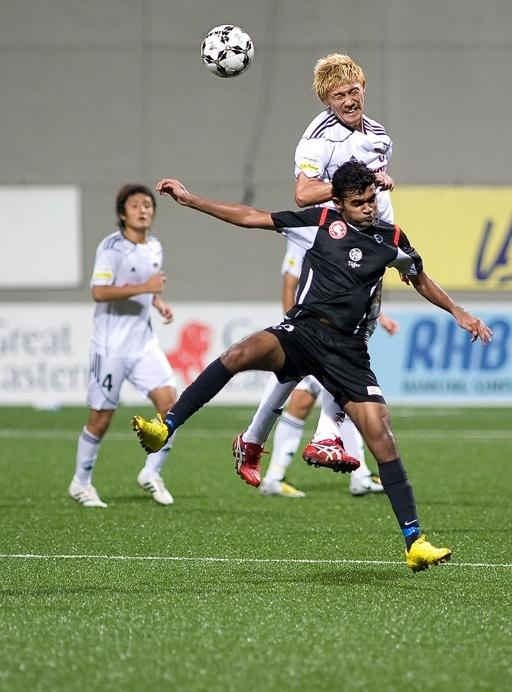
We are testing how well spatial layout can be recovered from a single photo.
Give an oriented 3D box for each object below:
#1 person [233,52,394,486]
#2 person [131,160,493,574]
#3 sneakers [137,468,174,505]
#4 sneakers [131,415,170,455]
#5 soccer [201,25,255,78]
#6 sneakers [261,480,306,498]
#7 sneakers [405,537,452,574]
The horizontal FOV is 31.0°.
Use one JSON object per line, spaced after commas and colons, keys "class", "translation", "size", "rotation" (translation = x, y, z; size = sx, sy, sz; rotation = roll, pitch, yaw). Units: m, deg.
{"class": "person", "translation": [0.366, -0.426, 4.677], "size": [0.941, 2.030, 0.953], "rotation": [2, 0, -5]}
{"class": "person", "translation": [0.241, 0.082, 3.896], "size": [1.435, 1.322, 0.840], "rotation": [12, 13, 18]}
{"class": "sneakers", "translation": [-0.666, 0.926, 6.058], "size": [0.286, 0.120, 0.103], "rotation": [41, 30, -7]}
{"class": "sneakers", "translation": [-0.450, 0.356, 3.881], "size": [0.131, 0.190, 0.100], "rotation": [0, 34, 15]}
{"class": "soccer", "translation": [-0.196, -1.594, 5.024], "size": [0.310, 0.246, 0.278], "rotation": [-5, 21, -10]}
{"class": "sneakers", "translation": [0.161, 0.969, 6.272], "size": [0.359, 0.124, 0.106], "rotation": [1, -1, -3]}
{"class": "sneakers", "translation": [0.688, 0.785, 3.472], "size": [0.225, 0.118, 0.080], "rotation": [-18, 28, 49]}
